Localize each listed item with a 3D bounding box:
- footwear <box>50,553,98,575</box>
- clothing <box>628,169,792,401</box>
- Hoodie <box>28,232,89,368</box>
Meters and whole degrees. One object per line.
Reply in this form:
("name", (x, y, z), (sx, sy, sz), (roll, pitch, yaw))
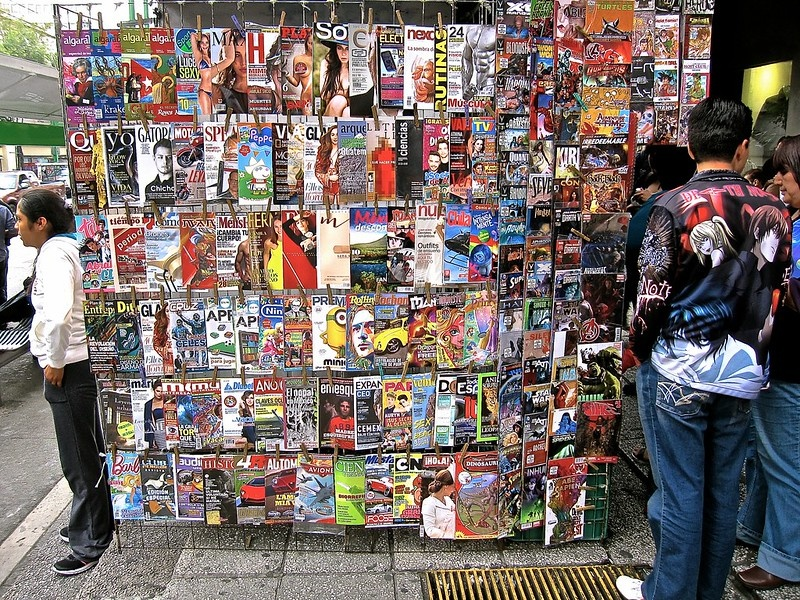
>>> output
("footwear", (-2.176, 1.757, 4.935), (0.291, 0.133, 0.119), (6, -3, -23))
("clothing", (1.769, -0.100, 4.243), (0.756, 1.248, 0.478), (6, 18, 27))
("Hoodie", (-2.258, -0.008, 4.904), (0.441, 0.847, 0.853), (3, 4, -16))
